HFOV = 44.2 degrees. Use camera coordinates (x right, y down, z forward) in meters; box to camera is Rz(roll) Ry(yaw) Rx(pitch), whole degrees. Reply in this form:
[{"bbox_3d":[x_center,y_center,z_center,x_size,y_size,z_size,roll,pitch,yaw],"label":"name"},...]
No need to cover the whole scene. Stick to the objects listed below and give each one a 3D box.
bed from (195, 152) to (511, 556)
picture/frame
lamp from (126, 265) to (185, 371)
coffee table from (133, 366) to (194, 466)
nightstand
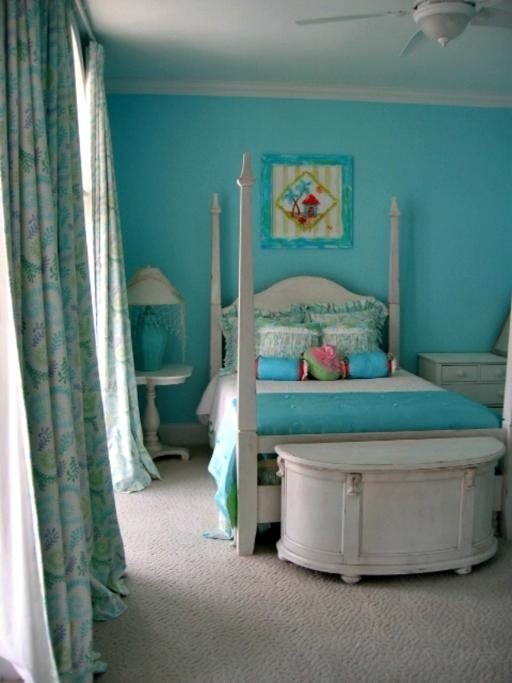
[{"bbox_3d":[0.529,0.016,3.453,1.464,1.747,1.981,-1,5,-9],"label":"bed"},{"bbox_3d":[0.299,-0.908,3.993,0.554,0.591,0.040,-1,4,-13],"label":"picture/frame"},{"bbox_3d":[-0.580,-0.127,3.712,0.326,0.599,0.493,-1,7,-8],"label":"lamp"},{"bbox_3d":[-0.426,0.435,3.706,0.436,0.507,0.497,2,7,9],"label":"coffee table"},{"bbox_3d":[1.312,0.209,4.036,0.449,0.465,0.344,-1,4,-9],"label":"nightstand"}]
